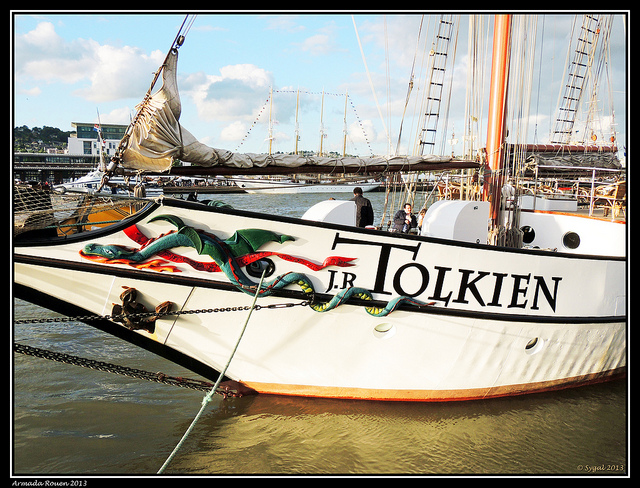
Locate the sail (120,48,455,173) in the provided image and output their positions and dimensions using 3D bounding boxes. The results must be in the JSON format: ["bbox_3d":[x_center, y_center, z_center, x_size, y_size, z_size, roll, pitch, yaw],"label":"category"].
[{"bbox_3d":[-0.313,-1.511,6.639,4.135,1.501,1.374,4,15,-3],"label":"sail"}]
